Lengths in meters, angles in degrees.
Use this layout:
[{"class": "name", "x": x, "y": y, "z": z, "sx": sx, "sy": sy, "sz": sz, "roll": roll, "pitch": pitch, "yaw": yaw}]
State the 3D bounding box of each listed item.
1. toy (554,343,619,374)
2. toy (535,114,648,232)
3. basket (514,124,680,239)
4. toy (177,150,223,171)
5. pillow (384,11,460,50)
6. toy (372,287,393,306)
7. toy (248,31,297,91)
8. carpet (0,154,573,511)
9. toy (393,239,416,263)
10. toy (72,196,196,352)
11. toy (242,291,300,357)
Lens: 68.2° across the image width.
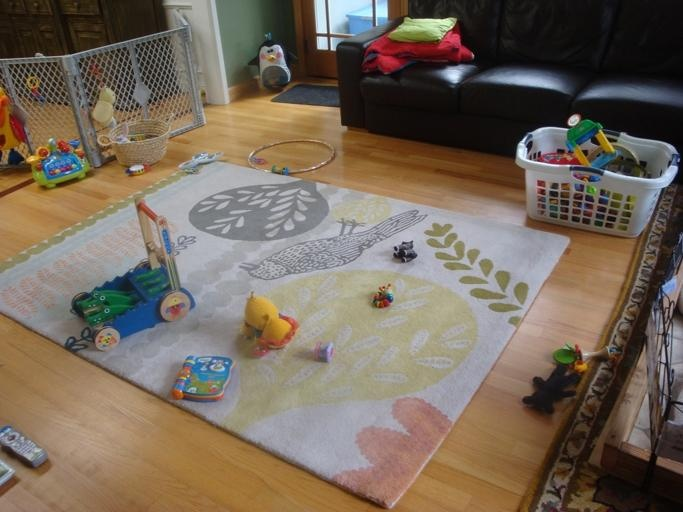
[{"class": "toy", "x": 1.003, "y": 0.406, "z": 2.047, "sx": 0.210, "sy": 0.076, "sz": 0.120, "roll": -10, "pitch": 20, "yaw": 6}, {"class": "toy", "x": 1.297, "y": -0.539, "z": 2.832, "sx": 0.658, "sy": 0.271, "sz": 0.438, "roll": 19, "pitch": 52, "yaw": 34}, {"class": "basket", "x": 1.389, "y": -0.417, "z": 2.760, "sx": 0.957, "sy": 0.471, "sz": 0.616, "roll": 17, "pitch": 43, "yaw": 26}, {"class": "toy", "x": -1.007, "y": -0.674, "z": 3.597, "sx": 0.152, "sy": 0.045, "sz": 0.239, "roll": 18, "pitch": 36, "yaw": 37}, {"class": "pillow", "x": 0.576, "y": -1.628, "z": 3.658, "sx": 0.335, "sy": 0.078, "sz": 0.324, "roll": -27, "pitch": 32, "yaw": -10}, {"class": "toy", "x": 0.203, "y": 0.202, "z": 2.373, "sx": 0.081, "sy": 0.087, "sz": 0.095, "roll": -6, "pitch": 34, "yaw": 32}, {"class": "toy", "x": -0.689, "y": -1.898, "z": 4.895, "sx": 0.391, "sy": 0.491, "sz": 0.453, "roll": 1, "pitch": 37, "yaw": 6}, {"class": "carpet", "x": 0.137, "y": 0.172, "z": 2.309, "sx": 2.017, "sy": 0.022, "sz": 1.436, "roll": 25, "pitch": 47, "yaw": 33}, {"class": "toy", "x": 0.325, "y": -0.022, "z": 2.587, "sx": 0.102, "sy": 0.046, "sz": 0.112, "roll": 23, "pitch": 44, "yaw": 31}, {"class": "toy", "x": -1.021, "y": 0.106, "z": 2.474, "sx": 0.565, "sy": 0.527, "sz": 0.354, "roll": -26, "pitch": 55, "yaw": -28}, {"class": "toy", "x": -0.339, "y": 0.284, "z": 2.254, "sx": 0.207, "sy": 0.151, "sz": 0.280, "roll": -27, "pitch": 40, "yaw": -15}]
